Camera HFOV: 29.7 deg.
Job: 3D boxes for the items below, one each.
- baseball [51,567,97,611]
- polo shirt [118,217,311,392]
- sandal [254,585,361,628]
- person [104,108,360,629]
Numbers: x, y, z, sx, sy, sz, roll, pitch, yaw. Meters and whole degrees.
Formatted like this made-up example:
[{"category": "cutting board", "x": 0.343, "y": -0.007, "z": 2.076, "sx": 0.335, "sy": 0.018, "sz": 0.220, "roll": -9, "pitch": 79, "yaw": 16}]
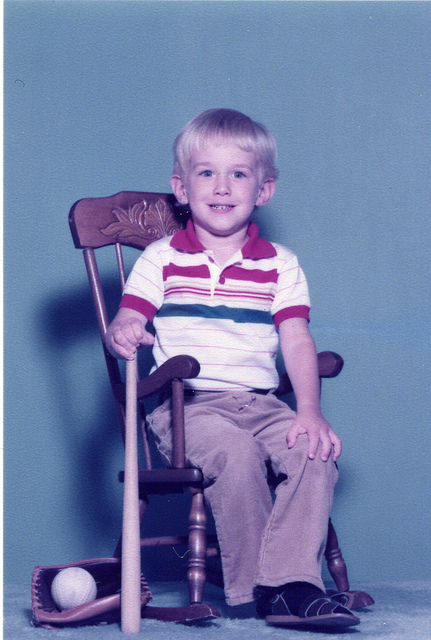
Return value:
[{"category": "baseball", "x": -0.281, "y": 0.537, "z": 1.618, "sx": 0.072, "sy": 0.071, "sz": 0.092, "roll": -11, "pitch": 13, "yaw": -43}, {"category": "polo shirt", "x": -0.007, "y": -0.043, "z": 1.921, "sx": 0.499, "sy": 0.369, "sz": 0.240, "roll": 2, "pitch": 6, "yaw": -1}, {"category": "sandal", "x": 0.160, "y": 0.500, "z": 1.431, "sx": 0.208, "sy": 0.052, "sz": 0.076, "roll": -10, "pitch": -24, "yaw": 32}, {"category": "person", "x": 0.011, "y": 0.039, "z": 1.683, "sx": 0.436, "sy": 1.018, "sz": 0.808, "roll": -3, "pitch": 10, "yaw": -2}]
